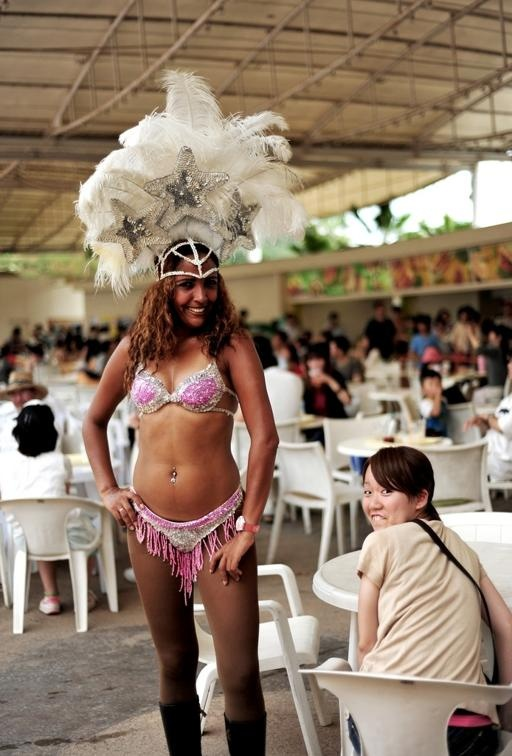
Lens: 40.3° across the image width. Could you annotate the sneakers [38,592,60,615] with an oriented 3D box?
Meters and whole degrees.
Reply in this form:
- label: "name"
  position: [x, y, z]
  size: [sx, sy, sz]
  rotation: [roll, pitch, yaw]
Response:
- label: "sneakers"
  position: [-1.122, 1.238, 3.840]
  size: [0.066, 0.059, 0.146]
  rotation: [-1, 6, -16]
